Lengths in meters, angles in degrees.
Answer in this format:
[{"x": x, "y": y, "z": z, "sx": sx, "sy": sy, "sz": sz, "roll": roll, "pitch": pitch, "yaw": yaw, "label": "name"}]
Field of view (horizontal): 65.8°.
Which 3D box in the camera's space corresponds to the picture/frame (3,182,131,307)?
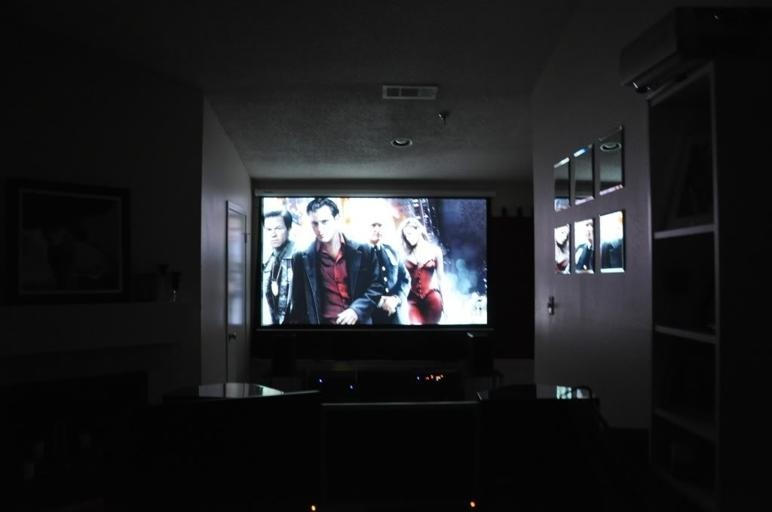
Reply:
[{"x": -1.620, "y": -0.059, "z": 2.960, "sx": 0.614, "sy": 0.708, "sz": 0.049, "roll": 0, "pitch": -3, "yaw": -13, "label": "picture/frame"}]
